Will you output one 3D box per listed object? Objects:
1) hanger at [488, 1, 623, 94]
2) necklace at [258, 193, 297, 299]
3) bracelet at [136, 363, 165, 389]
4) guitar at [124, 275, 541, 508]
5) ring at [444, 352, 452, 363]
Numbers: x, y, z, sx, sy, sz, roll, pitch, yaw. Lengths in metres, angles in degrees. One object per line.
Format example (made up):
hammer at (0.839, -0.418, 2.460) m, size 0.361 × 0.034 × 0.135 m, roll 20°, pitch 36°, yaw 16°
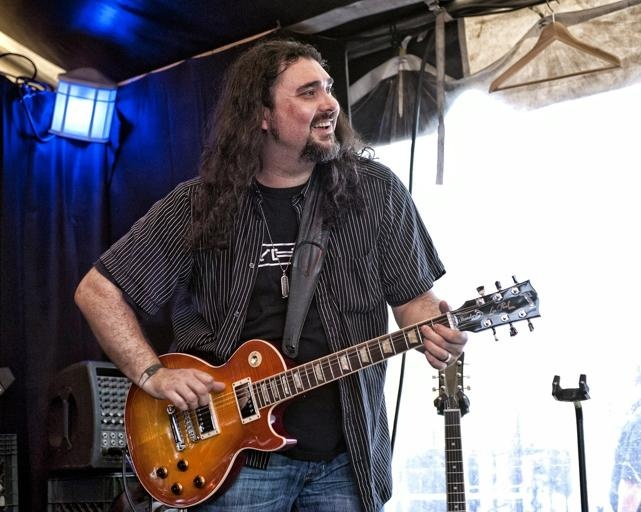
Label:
hanger at (1.321, -1.134, 3.724) m, size 0.600 × 0.695 × 0.013 m, roll -16°, pitch -52°, yaw 32°
necklace at (-0.161, -0.036, 2.764) m, size 0.183 × 0.379 × 0.053 m, roll -2°, pitch -19°, yaw 10°
bracelet at (-0.671, 0.463, 2.665) m, size 0.026 × 0.109 × 0.059 m, roll 35°, pitch -1°, yaw -36°
guitar at (0.061, 0.569, 2.844) m, size 1.161 × 0.430 × 0.171 m, roll -20°, pitch -12°, yaw 2°
ring at (0.460, 0.369, 2.442) m, size 0.034 × 0.036 × 0.020 m, roll 4°, pitch -9°, yaw -40°
